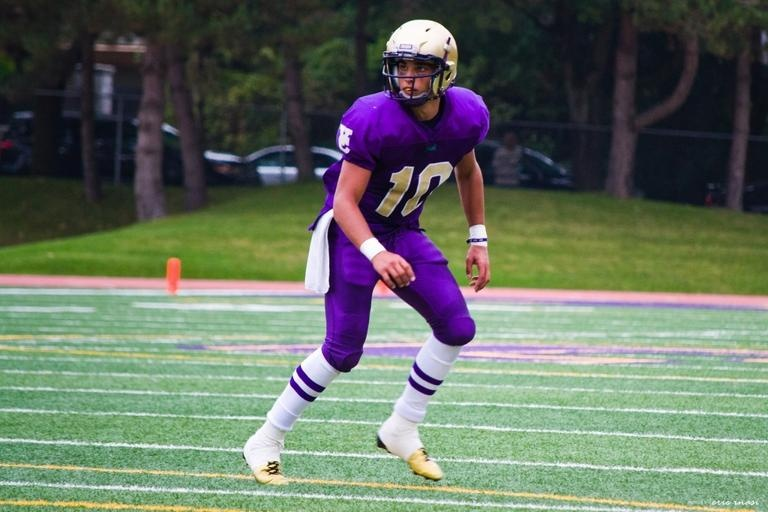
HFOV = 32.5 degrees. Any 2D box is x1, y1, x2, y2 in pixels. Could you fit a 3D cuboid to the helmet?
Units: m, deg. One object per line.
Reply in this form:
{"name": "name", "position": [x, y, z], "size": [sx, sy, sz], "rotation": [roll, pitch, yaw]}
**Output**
{"name": "helmet", "position": [0.287, -1.523, 10.090], "size": [0.509, 0.488, 0.673], "rotation": [12, 24, 35]}

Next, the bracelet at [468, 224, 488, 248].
{"name": "bracelet", "position": [0.737, -0.152, 10.543], "size": [0.197, 0.177, 0.163], "rotation": [-6, -11, 35]}

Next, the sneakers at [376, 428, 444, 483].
{"name": "sneakers", "position": [0.268, 1.582, 10.310], "size": [0.646, 0.259, 0.211], "rotation": [29, -1, 13]}
